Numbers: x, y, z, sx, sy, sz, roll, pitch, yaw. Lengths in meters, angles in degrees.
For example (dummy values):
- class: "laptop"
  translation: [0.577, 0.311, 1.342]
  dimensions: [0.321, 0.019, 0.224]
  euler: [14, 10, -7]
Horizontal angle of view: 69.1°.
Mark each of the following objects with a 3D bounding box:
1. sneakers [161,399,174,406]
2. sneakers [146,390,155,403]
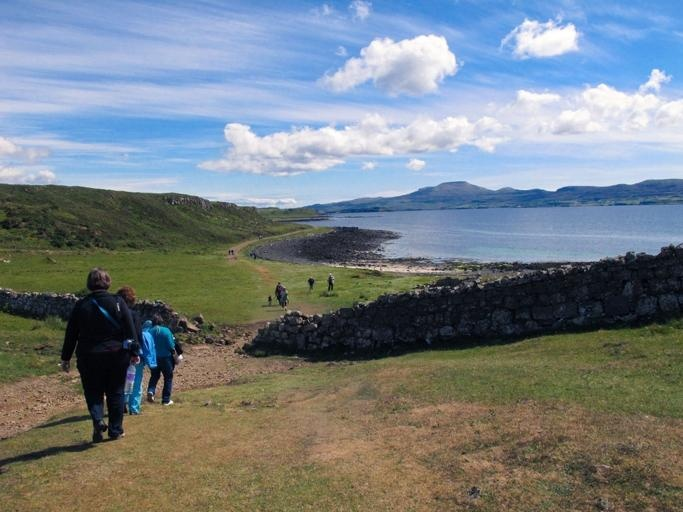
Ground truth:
- class: "sneakers"
  translation: [-5.121, 4.340, 14.598]
  dimensions: [0.377, 0.131, 0.126]
  euler: [4, -1, -25]
- class: "sneakers"
  translation: [-5.676, 4.200, 14.726]
  dimensions: [0.170, 0.391, 0.176]
  euler: [-8, 27, -15]
